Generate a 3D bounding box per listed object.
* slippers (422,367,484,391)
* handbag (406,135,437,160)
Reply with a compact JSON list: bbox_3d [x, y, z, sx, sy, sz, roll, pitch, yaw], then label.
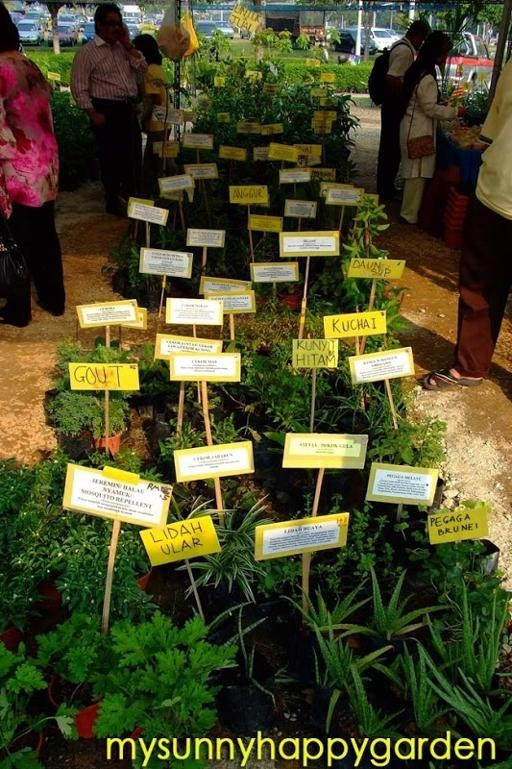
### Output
[{"bbox_3d":[1.164,-0.024,3.163,0.341,0.125,0.147,1,49,4],"label":"slippers"},{"bbox_3d":[1.737,-2.500,5.520,0.327,0.235,0.204,-1,30,15],"label":"handbag"}]
